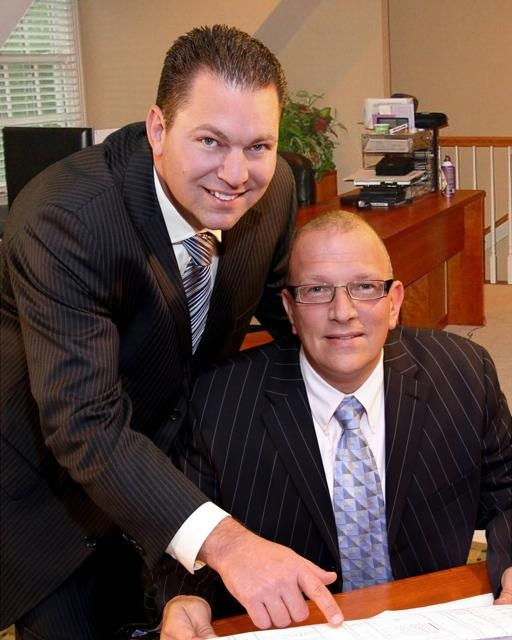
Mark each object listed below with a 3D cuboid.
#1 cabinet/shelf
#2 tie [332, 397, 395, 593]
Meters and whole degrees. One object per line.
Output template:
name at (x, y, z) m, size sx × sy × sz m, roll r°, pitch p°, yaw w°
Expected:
cabinet/shelf at (1.032, -1.153, 3.746) m, size 0.437 × 0.521 × 0.938 m, roll 11°, pitch 28°, yaw 33°
tie at (0.203, 0.338, 1.057) m, size 0.095 × 0.441 × 0.047 m, roll -7°, pitch 18°, yaw 1°
